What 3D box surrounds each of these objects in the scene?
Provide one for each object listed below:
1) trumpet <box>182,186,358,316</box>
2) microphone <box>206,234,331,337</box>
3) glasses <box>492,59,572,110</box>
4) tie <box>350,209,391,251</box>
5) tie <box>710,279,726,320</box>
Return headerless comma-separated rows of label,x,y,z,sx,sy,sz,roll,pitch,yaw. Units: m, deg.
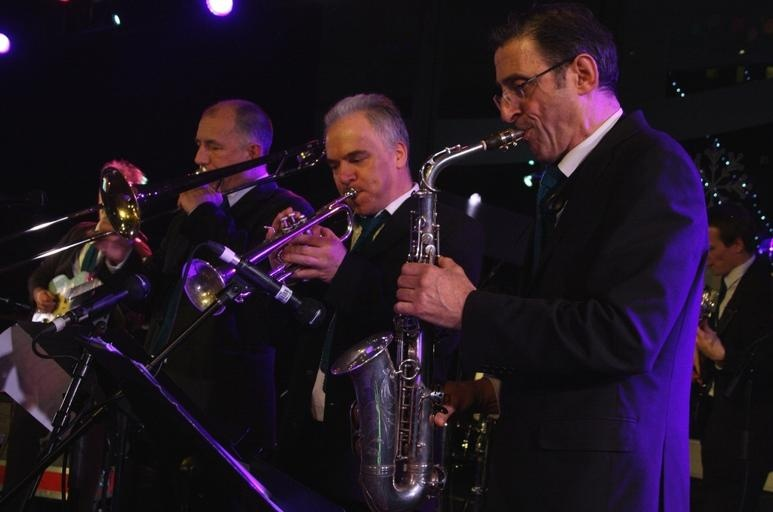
trumpet,-0.642,-0.011,3.836,0.948,0.396,0.311,-33,-1,-16
microphone,-0.614,0.126,3.410,0.661,0.152,0.142,37,-58,-28
glasses,0.637,-0.755,3.091,0.220,0.064,0.215,-33,4,-13
tie,-0.065,-0.128,3.973,0.070,0.254,0.188,17,16,-48
tie,1.988,0.256,4.160,0.042,0.245,0.052,12,-4,15
